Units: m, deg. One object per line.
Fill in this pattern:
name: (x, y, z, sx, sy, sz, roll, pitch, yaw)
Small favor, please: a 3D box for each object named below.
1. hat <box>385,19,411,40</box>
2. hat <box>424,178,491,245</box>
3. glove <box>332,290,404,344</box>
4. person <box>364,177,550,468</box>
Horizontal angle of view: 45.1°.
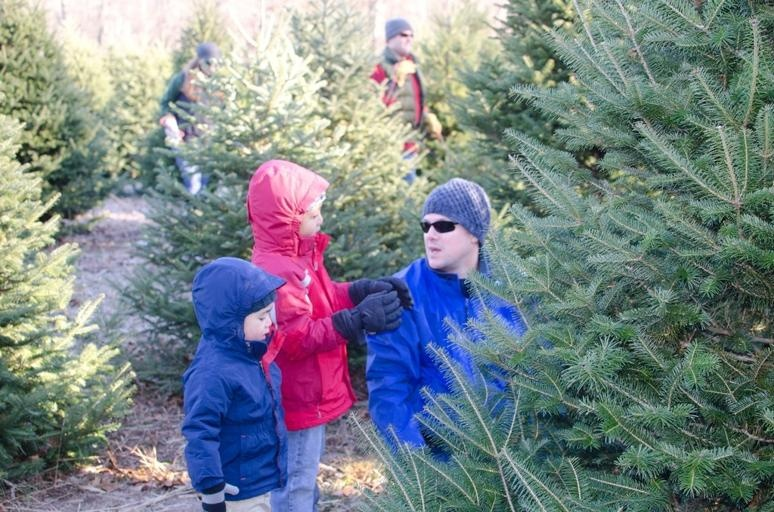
hat: (0.114, -2.468, 10.106, 0.223, 0.170, 0.233, 9, 23, 13)
hat: (0.530, -0.341, 6.514, 0.411, 0.404, 0.453, 12, -18, 17)
glove: (-0.127, 0.436, 6.295, 0.371, 0.205, 0.324, -13, 28, 16)
person: (0.335, 0.447, 6.120, 0.928, 1.710, 1.188, 0, 15, -2)
